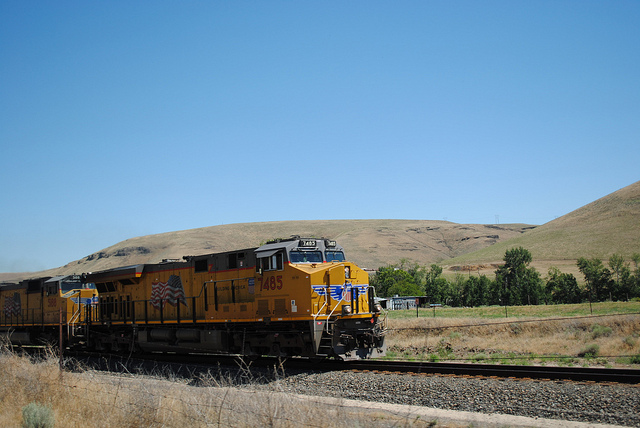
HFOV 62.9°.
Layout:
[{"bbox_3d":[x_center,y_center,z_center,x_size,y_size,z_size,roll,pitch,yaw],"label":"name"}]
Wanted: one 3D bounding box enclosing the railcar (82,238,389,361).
[{"bbox_3d":[-5.828,5.201,28.567,19.270,5.609,4.533,-13,-15,36],"label":"railcar"}]
